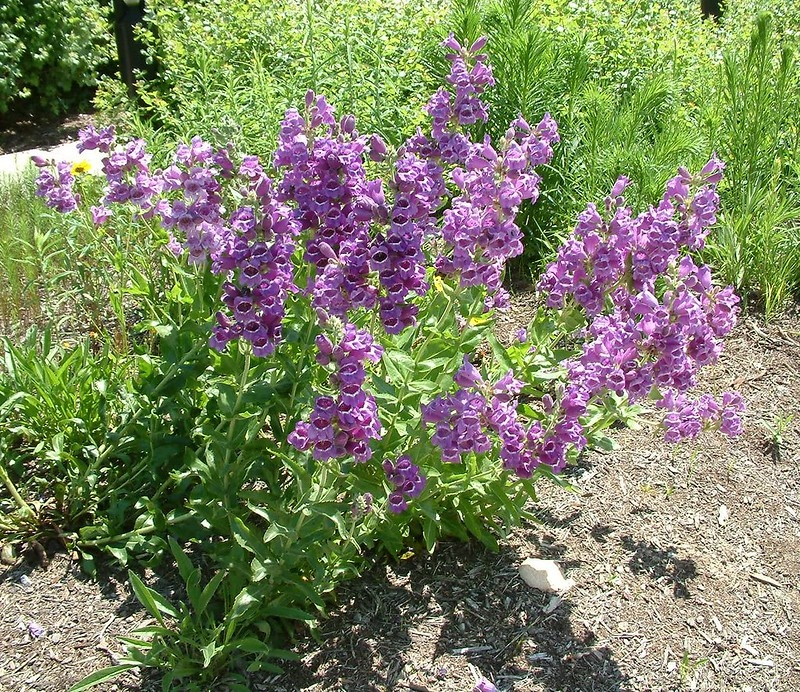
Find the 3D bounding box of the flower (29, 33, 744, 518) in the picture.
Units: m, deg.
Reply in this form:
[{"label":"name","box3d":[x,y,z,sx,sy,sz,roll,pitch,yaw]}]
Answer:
[{"label":"flower","box3d":[0.116,-0.273,3.081,1.722,1.115,2.319,5,39,-7]}]
